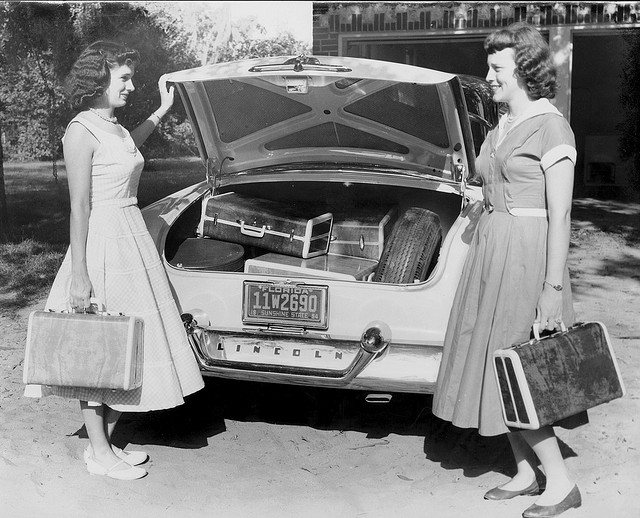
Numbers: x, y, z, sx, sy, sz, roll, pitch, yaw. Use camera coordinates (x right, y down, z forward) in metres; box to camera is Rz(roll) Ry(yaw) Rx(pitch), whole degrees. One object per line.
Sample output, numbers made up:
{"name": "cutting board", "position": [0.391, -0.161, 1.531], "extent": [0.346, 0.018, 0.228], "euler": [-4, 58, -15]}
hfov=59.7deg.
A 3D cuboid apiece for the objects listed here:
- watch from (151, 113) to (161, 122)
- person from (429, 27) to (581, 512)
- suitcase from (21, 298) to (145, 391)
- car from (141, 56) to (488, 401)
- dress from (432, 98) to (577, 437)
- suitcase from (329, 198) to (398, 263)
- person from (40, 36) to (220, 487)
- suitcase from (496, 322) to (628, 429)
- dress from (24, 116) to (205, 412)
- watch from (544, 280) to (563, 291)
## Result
{"name": "watch", "position": [-0.919, -0.788, 3.100], "extent": [0.053, 0.056, 0.053], "euler": [18, 8, -17]}
{"name": "person", "position": [0.799, -0.115, 2.427], "extent": [0.568, 1.725, 0.413], "euler": [5, 8, 39]}
{"name": "suitcase", "position": [-1.095, 0.390, 2.593], "extent": [0.478, 0.441, 0.189], "euler": [4, 0, -6]}
{"name": "car", "position": [0.059, -0.425, 3.825], "extent": [1.959, 1.723, 3.083], "euler": [2, 19, 8]}
{"name": "dress", "position": [0.822, 0.081, 2.563], "extent": [0.512, 1.631, 0.728], "euler": [2, 3, -34]}
{"name": "suitcase", "position": [0.275, -0.233, 4.050], "extent": [0.533, 0.272, 0.524], "euler": [3, 5, -44]}
{"name": "person", "position": [-1.123, -0.025, 3.209], "extent": [0.982, 2.149, 1.456], "euler": [-1, 6, -12]}
{"name": "suitcase", "position": [1.025, 0.475, 2.398], "extent": [0.521, 0.373, 0.194], "euler": [-11, -4, -19]}
{"name": "dress", "position": [-1.019, -0.135, 2.728], "extent": [0.537, 0.972, 0.495], "euler": [-4, 27, -24]}
{"name": "watch", "position": [0.958, 0.103, 2.255], "extent": [0.048, 0.013, 0.031], "euler": [26, 29, 14]}
